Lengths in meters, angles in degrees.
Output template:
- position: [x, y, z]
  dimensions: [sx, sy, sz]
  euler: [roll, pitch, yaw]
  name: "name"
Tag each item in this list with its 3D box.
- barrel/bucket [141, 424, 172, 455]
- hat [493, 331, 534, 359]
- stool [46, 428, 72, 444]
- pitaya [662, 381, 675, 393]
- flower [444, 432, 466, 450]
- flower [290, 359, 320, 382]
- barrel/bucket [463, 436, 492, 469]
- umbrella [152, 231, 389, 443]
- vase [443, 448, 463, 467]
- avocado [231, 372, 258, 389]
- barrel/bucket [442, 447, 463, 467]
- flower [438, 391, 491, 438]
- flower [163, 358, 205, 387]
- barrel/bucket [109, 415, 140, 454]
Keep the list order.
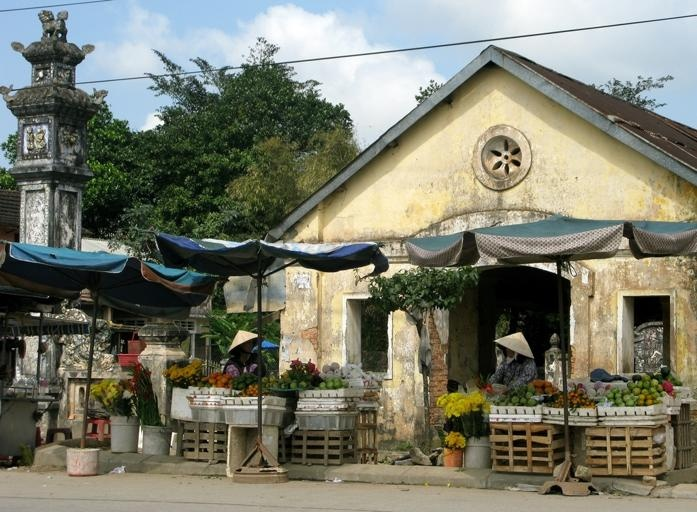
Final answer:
- position: [-3.551, 3.460, 23.478]
  dimensions: [0.522, 0.386, 0.528]
  euler: [1, -12, 0]
  name: "barrel/bucket"
- position: [3.011, 1.653, 23.104]
  dimensions: [0.516, 0.235, 0.524]
  euler: [21, -1, 11]
  name: "hat"
- position: [-5.784, 3.618, 25.371]
  dimensions: [0.443, 0.334, 0.447]
  euler: [-1, -6, 3]
  name: "stool"
- position: [5.439, 2.289, 21.704]
  dimensions: [0.176, 0.203, 0.204]
  euler: [-2, 11, 15]
  name: "pitaya"
- position: [1.845, 3.304, 22.312]
  dimensions: [0.302, 0.255, 0.308]
  euler: [2, 6, 13]
  name: "flower"
- position: [-0.838, 2.113, 22.745]
  dimensions: [0.418, 0.303, 0.392]
  euler: [5, 5, 33]
  name: "flower"
- position: [2.224, 3.532, 22.432]
  dimensions: [0.528, 0.547, 0.515]
  euler: [1, -7, 0]
  name: "barrel/bucket"
- position: [-1.462, 1.510, 22.923]
  dimensions: [3.423, 3.175, 3.938]
  euler: [3, -5, -7]
  name: "umbrella"
- position: [1.823, 3.626, 22.462]
  dimensions: [0.323, 0.275, 0.321]
  euler: [3, -9, -11]
  name: "vase"
- position: [-1.861, 2.249, 22.430]
  dimensions: [0.312, 0.133, 0.300]
  euler: [-1, 12, 24]
  name: "avocado"
- position: [1.818, 3.622, 22.417]
  dimensions: [0.322, 0.303, 0.318]
  euler: [1, -9, 0]
  name: "barrel/bucket"
- position: [2.020, 2.894, 22.553]
  dimensions: [0.821, 0.792, 0.816]
  euler: [-1, -15, -8]
  name: "flower"
- position: [-2.872, 2.186, 23.072]
  dimensions: [0.592, 0.405, 0.659]
  euler: [-5, -5, 39]
  name: "flower"
- position: [-4.087, 3.369, 23.581]
  dimensions: [0.619, 0.668, 0.614]
  euler: [0, -9, 0]
  name: "barrel/bucket"
